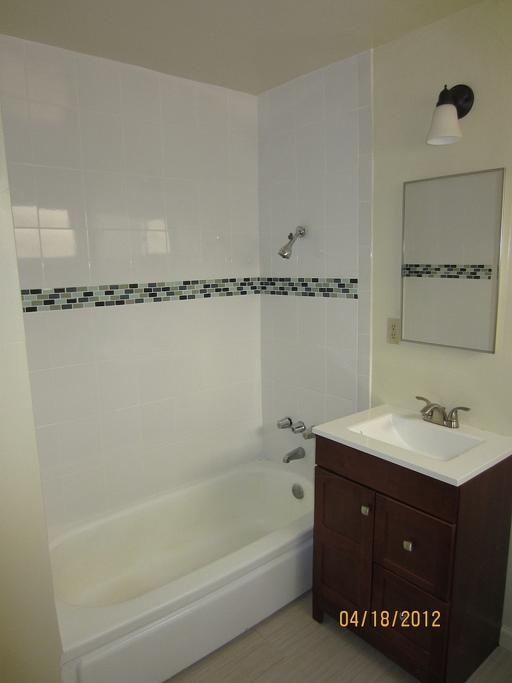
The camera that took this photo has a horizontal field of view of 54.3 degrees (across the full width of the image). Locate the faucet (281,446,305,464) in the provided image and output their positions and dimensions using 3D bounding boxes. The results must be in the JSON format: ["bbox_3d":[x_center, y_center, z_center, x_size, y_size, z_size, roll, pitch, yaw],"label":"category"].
[{"bbox_3d":[0.178,0.593,2.539,0.103,0.048,0.067,-25,32,-38],"label":"faucet"}]

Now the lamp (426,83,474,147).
[{"bbox_3d":[0.607,-0.720,1.568,0.099,0.220,0.106,5,-5,-22],"label":"lamp"}]
